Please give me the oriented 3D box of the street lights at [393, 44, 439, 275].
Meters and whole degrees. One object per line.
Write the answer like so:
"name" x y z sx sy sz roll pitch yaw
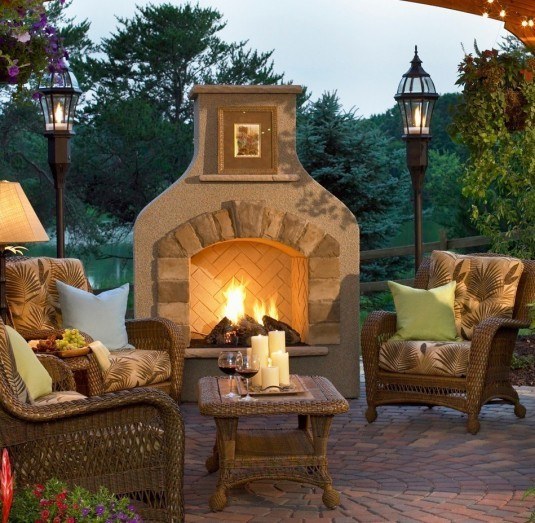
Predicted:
"street lights" 1.465 -0.913 6.893 0.397 2.057 0.402 -3 7 -8

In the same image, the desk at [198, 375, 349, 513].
"desk" 0.036 0.950 4.018 0.726 0.586 0.741 1 2 -1

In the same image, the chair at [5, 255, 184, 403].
"chair" -1.187 0.422 5.133 1.257 1.052 0.955 -3 -4 43

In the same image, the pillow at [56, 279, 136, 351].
"pillow" -1.250 0.396 5.299 0.516 0.436 0.182 4 -21 -31

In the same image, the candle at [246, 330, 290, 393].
"candle" 0.016 0.549 4.034 0.207 0.299 0.204 3 3 -18

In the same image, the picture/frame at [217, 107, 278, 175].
"picture/frame" -0.193 -1.034 6.314 0.651 0.661 0.034 0 0 -7

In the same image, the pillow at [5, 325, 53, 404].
"pillow" -1.075 0.470 3.335 0.243 0.329 0.292 1 6 -17

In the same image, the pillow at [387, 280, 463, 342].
"pillow" 1.248 0.401 5.708 0.473 0.373 0.169 -2 -20 9
